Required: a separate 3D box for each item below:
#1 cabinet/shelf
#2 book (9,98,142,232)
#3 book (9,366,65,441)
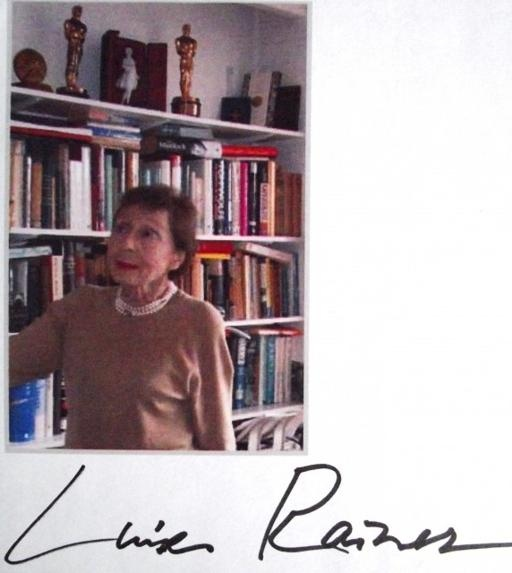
[{"bbox_3d":[-0.312,-0.050,2.079,0.907,0.848,0.275,4,2,-16],"label":"cabinet/shelf"},{"bbox_3d":[-0.509,-0.324,2.035,0.272,0.134,0.379,6,-16,-31],"label":"book"},{"bbox_3d":[-0.595,0.313,2.081,0.170,0.216,0.114,7,9,39],"label":"book"}]
